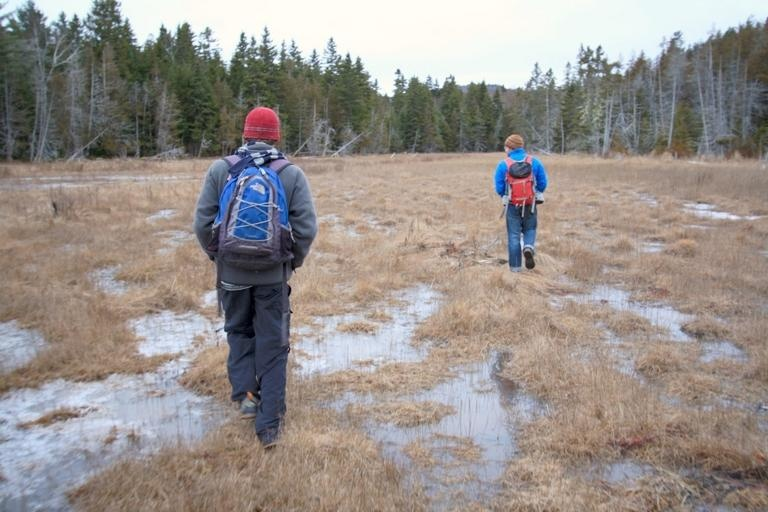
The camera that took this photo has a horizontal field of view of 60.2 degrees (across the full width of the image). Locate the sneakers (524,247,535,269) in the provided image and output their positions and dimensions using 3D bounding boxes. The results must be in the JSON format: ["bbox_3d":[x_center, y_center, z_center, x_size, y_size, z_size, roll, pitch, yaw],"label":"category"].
[{"bbox_3d":[3.246,0.038,14.873,0.182,0.546,0.212,-5,8,13],"label":"sneakers"}]

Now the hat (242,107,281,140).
[{"bbox_3d":[-2.014,-2.172,10.943,0.660,0.623,0.723,1,7,-31],"label":"hat"}]
